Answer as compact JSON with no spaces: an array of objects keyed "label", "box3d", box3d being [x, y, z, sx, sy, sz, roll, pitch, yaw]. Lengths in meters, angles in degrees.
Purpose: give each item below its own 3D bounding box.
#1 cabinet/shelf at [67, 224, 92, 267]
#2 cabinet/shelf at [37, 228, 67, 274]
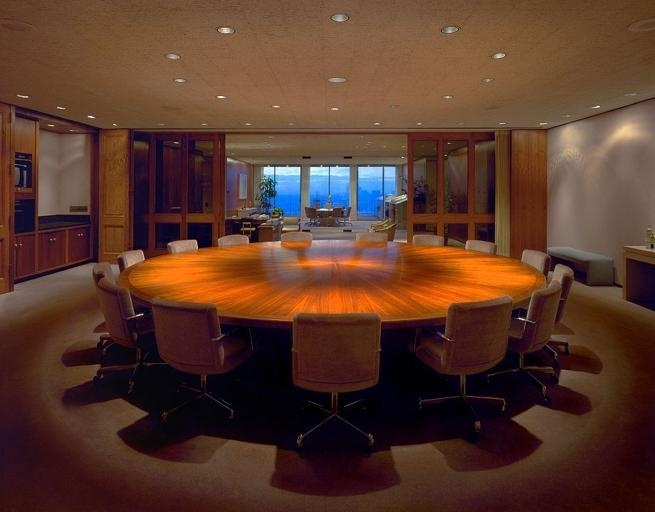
[{"label":"cabinet/shelf","box3d":[-4.853,-0.206,8.898,0.390,0.773,0.918,1,1,4]},{"label":"cabinet/shelf","box3d":[-4.884,-0.092,8.062,0.406,0.706,0.900,1,1,-3]}]
